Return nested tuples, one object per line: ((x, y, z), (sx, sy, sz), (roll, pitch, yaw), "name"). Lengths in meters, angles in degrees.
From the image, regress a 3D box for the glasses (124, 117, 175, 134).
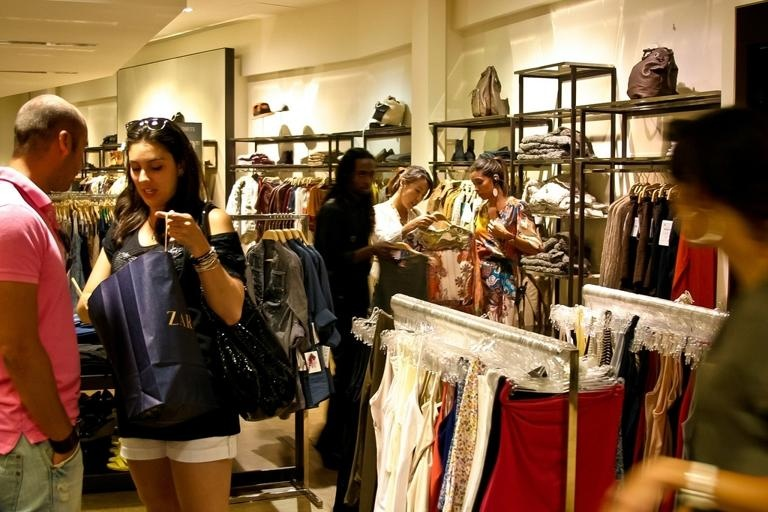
((-0.948, -0.517, 2.225), (0.152, 0.077, 0.287), (-7, 11, -38), "glasses")

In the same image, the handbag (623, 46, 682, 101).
((2.402, -1.622, 5.206), (0.438, 0.508, 0.487), (1, -1, -12), "handbag")

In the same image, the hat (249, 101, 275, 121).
((-2.218, -2.614, 10.023), (0.323, 0.183, 0.329), (-19, 4, -33), "hat")

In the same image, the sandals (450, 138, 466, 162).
((0.929, -1.326, 7.131), (0.157, 0.244, 0.341), (0, 8, -2), "sandals")

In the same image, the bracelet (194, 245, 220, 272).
((-0.645, 0.008, 2.025), (0.076, 0.057, 0.084), (-1, 10, 7), "bracelet")

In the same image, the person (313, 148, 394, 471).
((-0.259, 0.447, 3.768), (0.420, 2.288, 0.579), (-1, 8, -8), "person")

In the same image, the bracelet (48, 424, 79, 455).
((-1.031, 0.582, 1.787), (0.075, 0.057, 0.077), (1, 0, -11), "bracelet")

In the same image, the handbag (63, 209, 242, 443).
((-0.707, 0.230, 2.023), (0.611, 0.900, 0.212), (-8, 6, -6), "handbag")

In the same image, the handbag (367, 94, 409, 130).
((0.051, -2.039, 7.986), (0.499, 0.545, 0.415), (10, 4, 4), "handbag")
